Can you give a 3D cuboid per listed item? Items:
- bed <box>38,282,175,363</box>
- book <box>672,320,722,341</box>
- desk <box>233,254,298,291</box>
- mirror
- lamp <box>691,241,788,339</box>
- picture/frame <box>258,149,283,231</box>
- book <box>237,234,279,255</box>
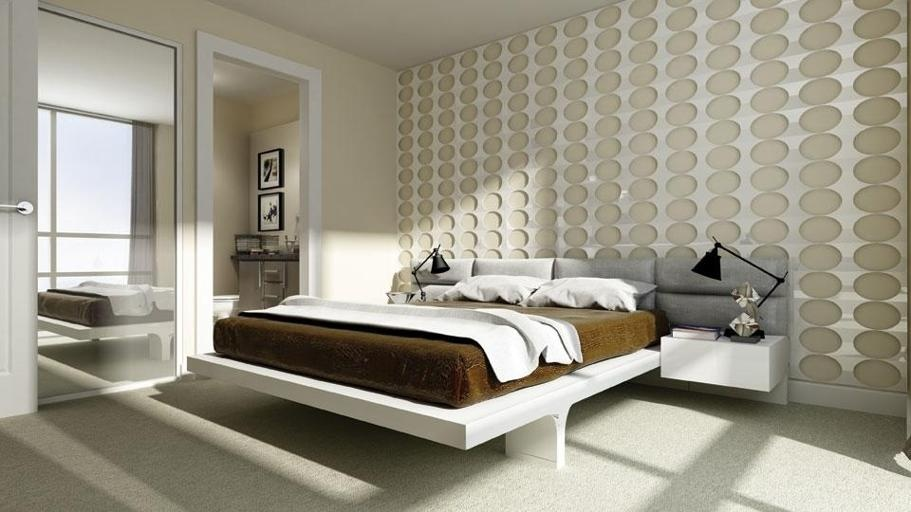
[{"bbox_3d":[-3.539,0.649,5.642,1.469,0.517,1.312,3,0,29],"label":"bed"},{"bbox_3d":[2.146,0.677,4.722,0.385,0.118,0.207,-1,3,24],"label":"book"},{"bbox_3d":[-2.568,0.219,7.272,0.582,0.469,0.188,-3,-5,36],"label":"desk"},{"bbox_3d":[-3.299,-0.506,5.049,1.337,3.623,0.138,-6,4,-36],"label":"mirror"},{"bbox_3d":[2.604,0.257,4.816,0.644,0.861,0.614,0,4,37],"label":"lamp"},{"bbox_3d":[-2.766,-0.987,7.928,0.567,1.220,0.112,-1,4,30],"label":"picture/frame"},{"bbox_3d":[-2.929,-0.188,7.779,0.604,0.283,0.420,-1,3,23],"label":"book"}]
